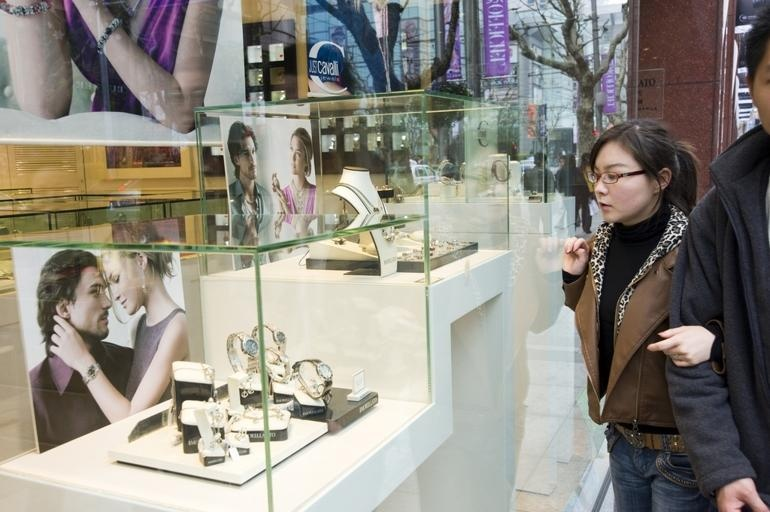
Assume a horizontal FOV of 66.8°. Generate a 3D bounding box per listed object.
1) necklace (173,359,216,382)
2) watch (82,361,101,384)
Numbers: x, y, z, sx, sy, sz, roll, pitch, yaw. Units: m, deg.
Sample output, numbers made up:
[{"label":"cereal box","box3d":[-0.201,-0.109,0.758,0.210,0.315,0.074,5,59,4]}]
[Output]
[{"label":"necklace","box3d":[-0.479,0.295,1.473,0.109,0.055,0.013,-2,7,9]},{"label":"watch","box3d":[-0.749,0.308,1.529,0.046,0.046,0.020,-17,-45,39]}]
